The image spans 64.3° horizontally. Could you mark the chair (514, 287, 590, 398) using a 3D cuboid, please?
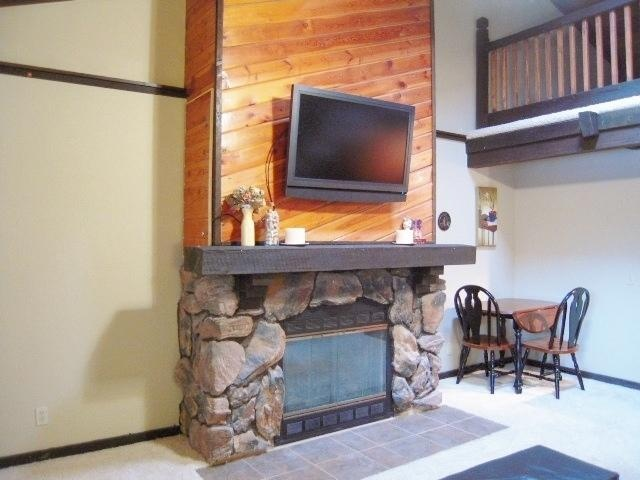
[{"bbox_3d":[2.645,1.123,5.829,0.631,1.201,0.705,0,0,-16],"label":"chair"}]

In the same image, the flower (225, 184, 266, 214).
[{"bbox_3d":[-0.591,-0.338,4.094,0.226,0.202,0.229,3,8,-1],"label":"flower"}]

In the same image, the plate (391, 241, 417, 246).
[{"bbox_3d":[0.817,0.016,4.898,0.241,0.044,0.172,0,6,-5],"label":"plate"}]

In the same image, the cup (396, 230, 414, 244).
[{"bbox_3d":[0.817,-0.034,4.901,0.136,0.105,0.138,1,2,0],"label":"cup"}]

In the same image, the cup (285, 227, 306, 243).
[{"bbox_3d":[-0.190,-0.033,4.204,0.143,0.104,0.110,0,1,-6],"label":"cup"}]

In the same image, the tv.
[{"bbox_3d":[0.229,-0.883,4.617,1.160,0.842,0.114,1,7,-32],"label":"tv"}]
